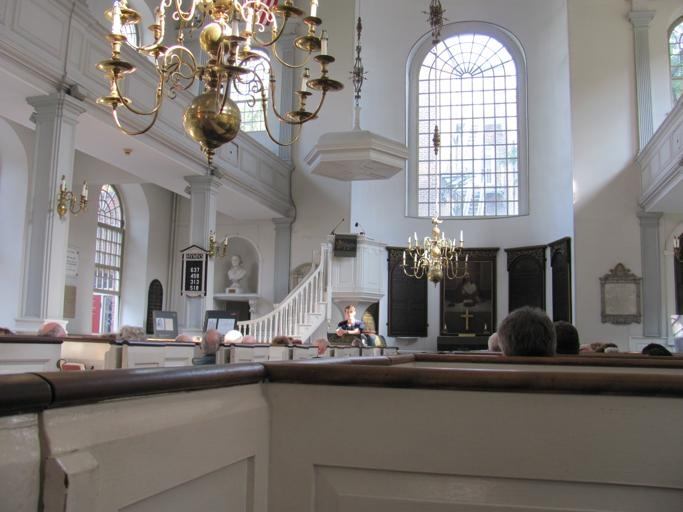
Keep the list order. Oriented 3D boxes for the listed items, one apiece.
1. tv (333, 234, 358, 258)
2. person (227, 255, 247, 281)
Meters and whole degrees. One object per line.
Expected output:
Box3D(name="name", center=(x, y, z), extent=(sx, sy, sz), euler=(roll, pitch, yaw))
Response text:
Box3D(name="tv", center=(0.078, -0.232, 13.986), extent=(0.659, 0.707, 0.503), euler=(1, -9, -2))
Box3D(name="person", center=(-3.079, 0.377, 15.941), extent=(0.572, 0.934, 0.366), euler=(-4, -17, 11))
